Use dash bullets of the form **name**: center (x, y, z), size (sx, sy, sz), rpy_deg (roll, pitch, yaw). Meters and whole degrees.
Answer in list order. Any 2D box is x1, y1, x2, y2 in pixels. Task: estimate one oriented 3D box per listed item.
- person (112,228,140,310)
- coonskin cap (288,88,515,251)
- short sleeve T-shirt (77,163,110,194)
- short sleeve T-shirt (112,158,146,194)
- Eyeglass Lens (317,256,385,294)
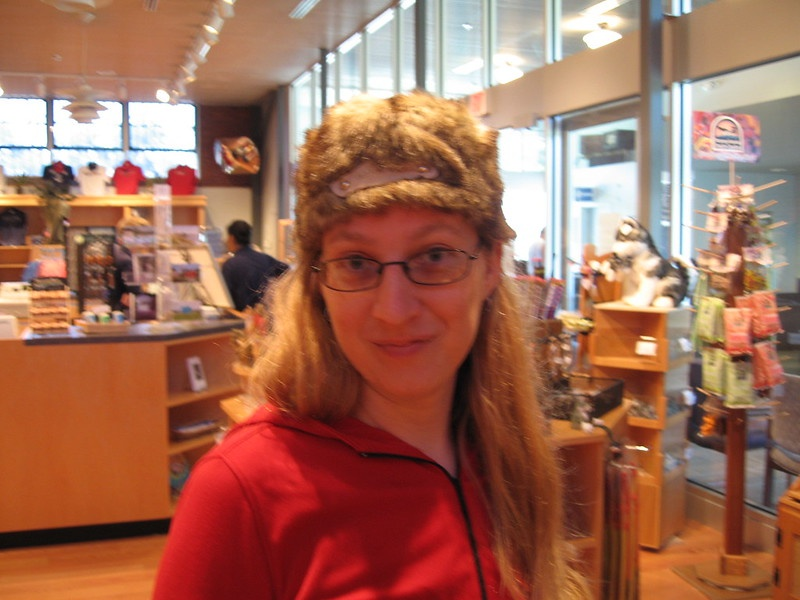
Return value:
- **person**: center (-2.054, -0.233, 4.969), size (0.170, 0.568, 0.416), rpy_deg (1, 12, -33)
- **coonskin cap**: center (-0.024, -0.280, 1.664), size (0.485, 0.329, 0.575), rpy_deg (2, -9, -42)
- **short sleeve T-shirt**: center (-4.198, -1.664, 9.143), size (0.393, 0.424, 0.527), rpy_deg (3, 11, -24)
- **short sleeve T-shirt**: center (-3.864, -1.738, 9.455), size (0.405, 0.453, 0.430), rpy_deg (5, 10, -13)
- **Eyeglass Lens**: center (-0.110, -0.058, 1.436), size (0.152, 0.082, 0.029), rpy_deg (10, 11, 20)
